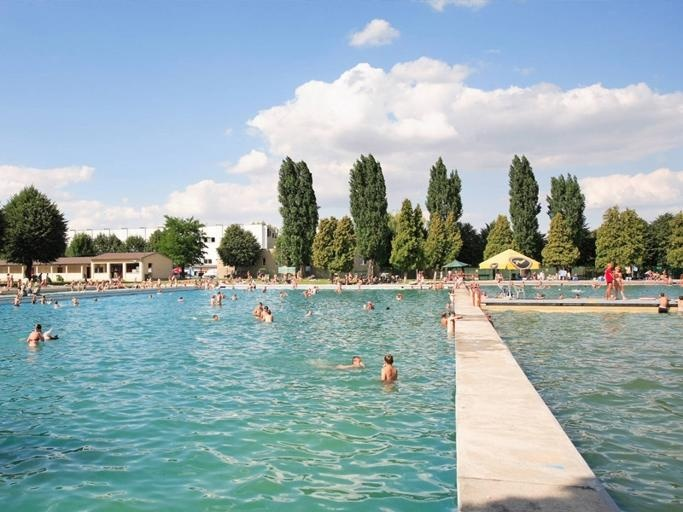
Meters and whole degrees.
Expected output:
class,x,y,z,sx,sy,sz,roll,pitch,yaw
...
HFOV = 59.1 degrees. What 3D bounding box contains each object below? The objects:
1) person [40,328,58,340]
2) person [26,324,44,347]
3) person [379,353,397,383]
class,x,y,z,sx,sy,sz,roll,pitch,yaw
person,-12.304,3.334,25.376,0.349,0.491,1.097,-3,-14,-15
person,-12.036,3.121,23.654,0.567,0.765,1.157,-5,9,-25
person,1.378,3.319,17.789,0.519,0.725,0.939,0,8,4
